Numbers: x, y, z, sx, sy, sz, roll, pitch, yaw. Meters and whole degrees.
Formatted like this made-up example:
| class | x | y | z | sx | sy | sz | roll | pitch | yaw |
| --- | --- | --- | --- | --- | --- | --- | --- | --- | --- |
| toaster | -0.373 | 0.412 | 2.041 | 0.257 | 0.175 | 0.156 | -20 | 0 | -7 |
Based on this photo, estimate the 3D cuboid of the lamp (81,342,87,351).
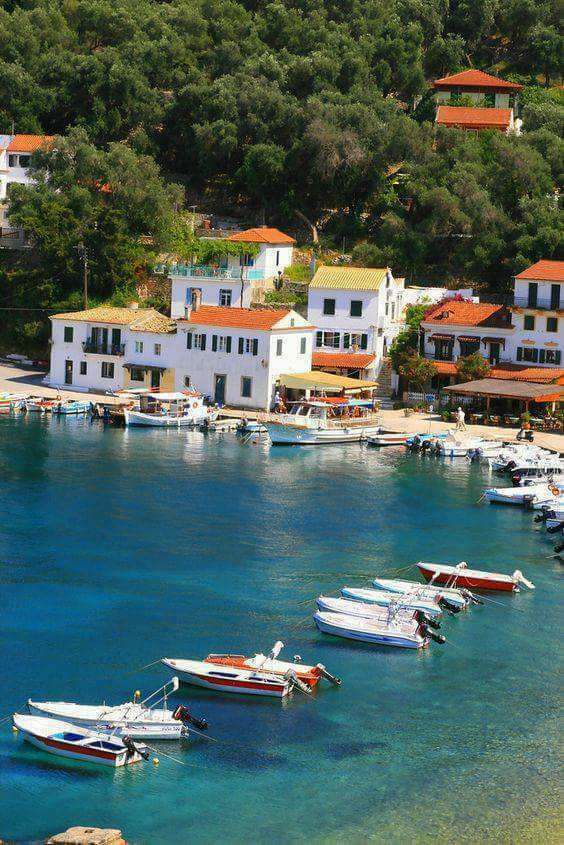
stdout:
| class | x | y | z | sx | sy | sz | roll | pitch | yaw |
| --- | --- | --- | --- | --- | --- | --- | --- | --- | --- |
| lamp | -12.952 | -5.112 | 87.602 | 0.502 | 0.659 | 0.144 | 5 | 3 | 39 |

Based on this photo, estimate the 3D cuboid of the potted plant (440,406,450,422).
| class | x | y | z | sx | sy | sz | roll | pitch | yaw |
| --- | --- | --- | --- | --- | --- | --- | --- | --- | --- |
| potted plant | 9.812 | -0.588 | 79.799 | 0.716 | 0.774 | 0.747 | 5 | 12 | 28 |

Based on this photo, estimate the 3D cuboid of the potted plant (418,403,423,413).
| class | x | y | z | sx | sy | sz | roll | pitch | yaw |
| --- | --- | --- | --- | --- | --- | --- | --- | --- | --- |
| potted plant | 8.566 | -0.971 | 82.487 | 0.360 | 0.450 | 0.801 | 3 | 3 | 5 |

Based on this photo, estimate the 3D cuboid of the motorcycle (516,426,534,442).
| class | x | y | z | sx | sy | sz | roll | pitch | yaw |
| --- | --- | --- | --- | --- | --- | --- | --- | --- | --- |
| motorcycle | 13.226 | 0.604 | 72.383 | 1.001 | 1.012 | 0.790 | -4 | 7 | -44 |

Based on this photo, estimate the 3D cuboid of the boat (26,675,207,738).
| class | x | y | z | sx | sy | sz | roll | pitch | yaw |
| --- | --- | --- | --- | --- | --- | --- | --- | --- | --- |
| boat | -4.168 | 7.441 | 33.894 | 4.379 | 1.730 | 1.764 | 3 | 9 | 4 |
